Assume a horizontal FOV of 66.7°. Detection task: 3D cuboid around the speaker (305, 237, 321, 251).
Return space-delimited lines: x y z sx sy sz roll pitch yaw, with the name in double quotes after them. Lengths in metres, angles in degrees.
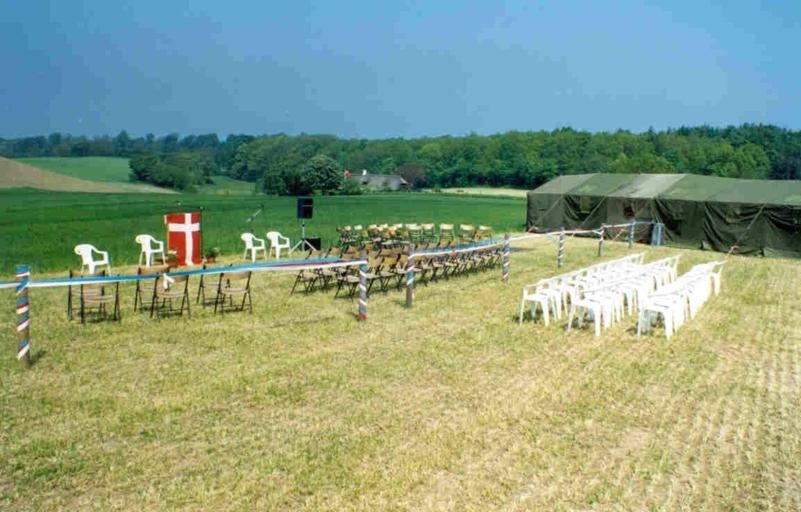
-3.129 -0.418 21.668 0.478 0.642 0.681 0 0 41 "speaker"
